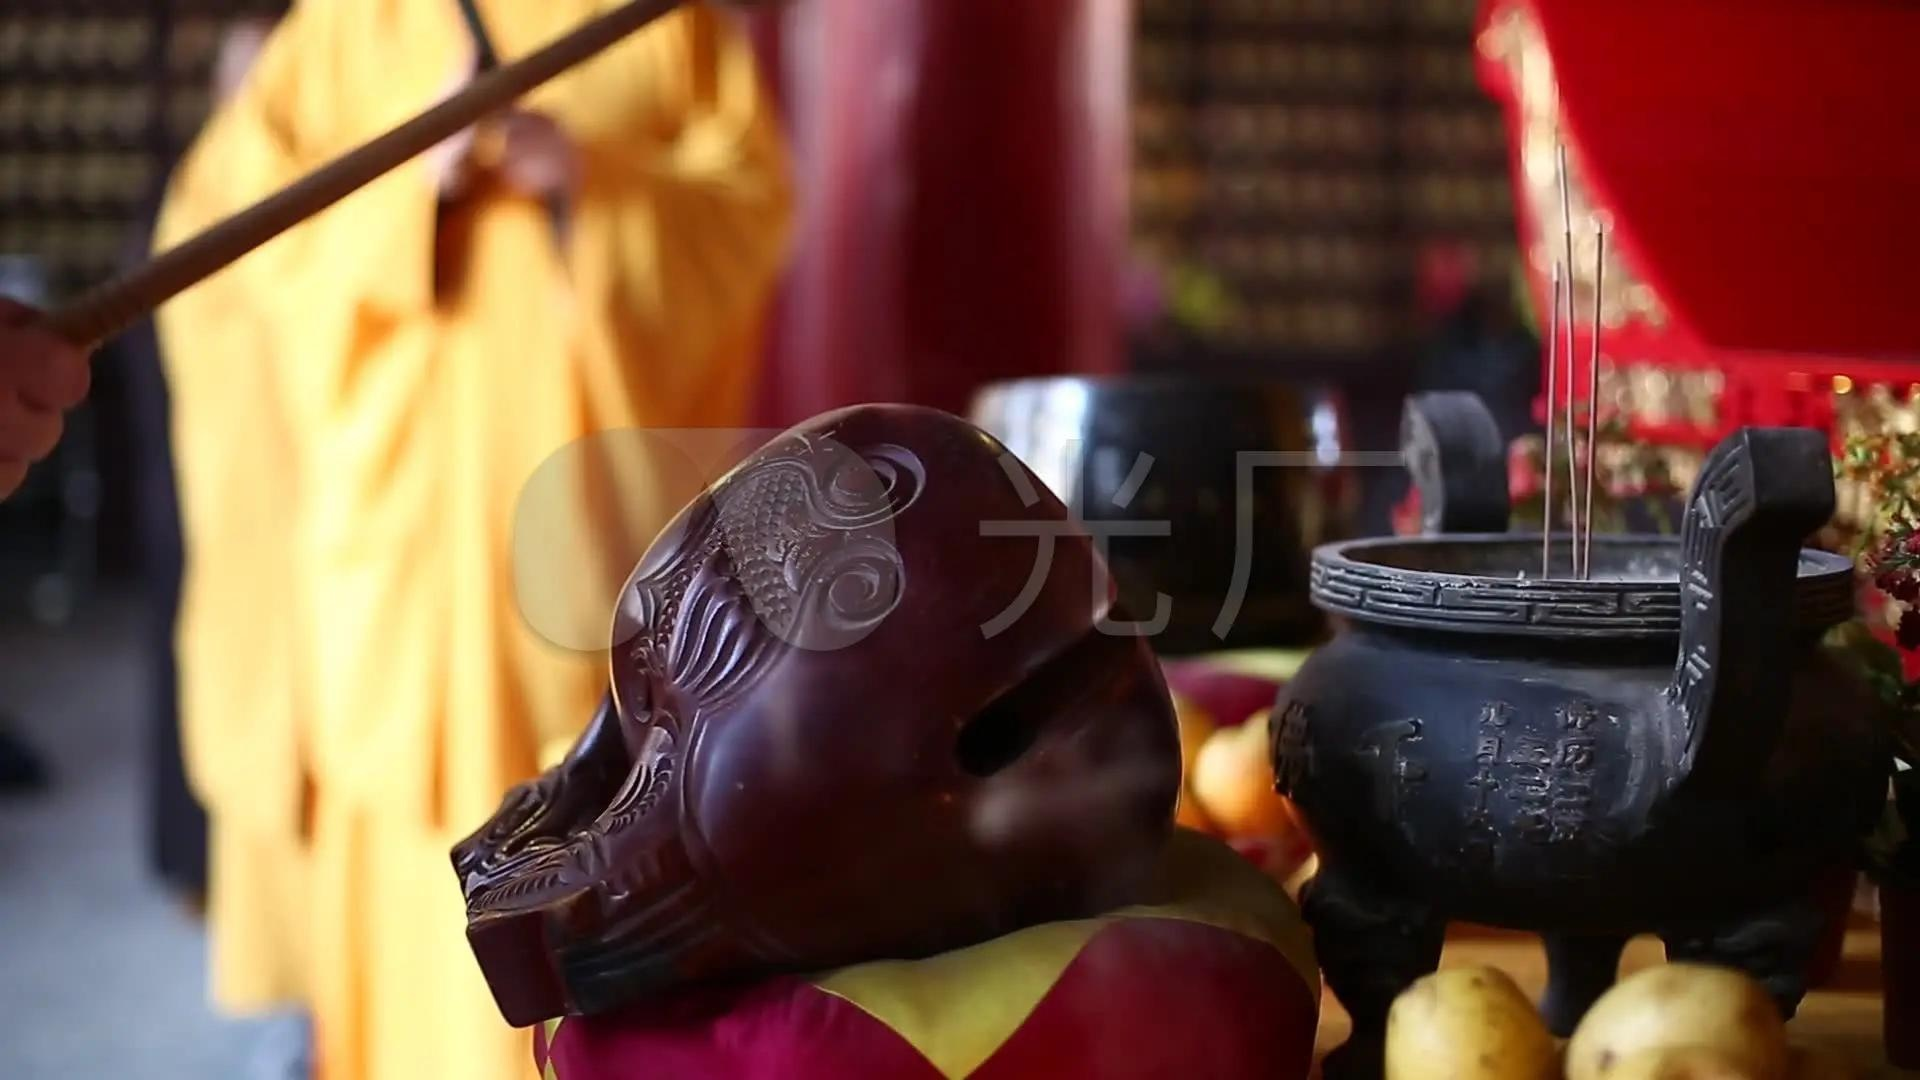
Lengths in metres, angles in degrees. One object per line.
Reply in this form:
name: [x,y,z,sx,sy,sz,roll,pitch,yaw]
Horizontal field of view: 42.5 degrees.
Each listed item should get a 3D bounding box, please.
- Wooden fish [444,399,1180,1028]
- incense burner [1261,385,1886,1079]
Wooden fish: [-0.129,0.135,2.259,0.666,0.516,0.498,-11,12,-21]
incense burner: [0.520,0.101,2.106,0.463,0.590,0.590,-1,4,-27]
